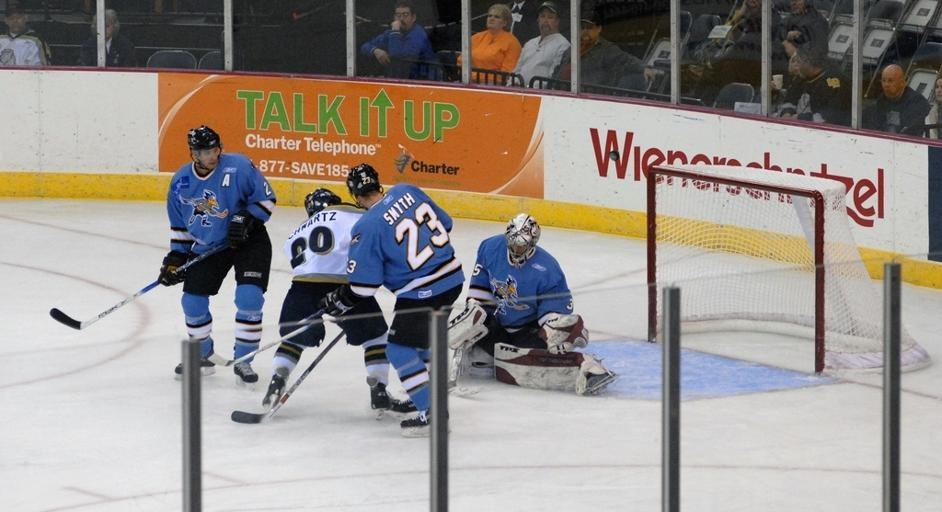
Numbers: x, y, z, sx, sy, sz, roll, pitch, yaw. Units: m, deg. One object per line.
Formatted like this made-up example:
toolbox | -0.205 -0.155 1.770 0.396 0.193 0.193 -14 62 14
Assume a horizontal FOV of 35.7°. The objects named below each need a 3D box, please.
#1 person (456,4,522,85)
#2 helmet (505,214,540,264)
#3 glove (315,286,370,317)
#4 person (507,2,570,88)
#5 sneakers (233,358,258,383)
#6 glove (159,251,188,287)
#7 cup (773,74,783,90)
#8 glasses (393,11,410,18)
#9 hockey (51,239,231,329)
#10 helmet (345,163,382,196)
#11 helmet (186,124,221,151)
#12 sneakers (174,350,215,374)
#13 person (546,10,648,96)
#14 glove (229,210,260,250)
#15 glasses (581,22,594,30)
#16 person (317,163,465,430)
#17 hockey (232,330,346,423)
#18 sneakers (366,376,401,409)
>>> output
person | 0.215 -2.034 13.925 0.601 0.682 0.430 28 31 35
helmet | 0.367 -0.140 10.431 0.299 0.303 0.316 4 19 -1
glove | -0.887 0.289 9.868 0.491 0.114 0.179 -19 -26 35
person | 0.672 -2.007 13.745 0.653 0.824 0.542 22 23 38
sneakers | -1.366 0.697 8.980 0.080 0.075 0.218 -10 12 -26
glove | -2.184 0.086 10.781 0.102 0.250 0.207 35 11 34
cup | 2.711 -1.514 12.736 0.135 0.111 0.124 -2 10 0
glasses | -0.640 -2.328 14.193 0.149 0.045 0.023 6 9 27
hockey | -2.565 0.239 11.493 1.331 0.169 0.172 -24 -12 -4
helmet | -0.671 -0.523 9.931 0.223 0.221 0.251 -9 6 -18
helmet | -1.920 -0.859 10.672 0.227 0.164 0.257 1 8 -10
sneakers | -1.541 0.604 8.358 0.138 0.115 0.211 -1 -3 5
person | 1.218 -1.895 13.530 0.911 0.788 0.277 3 17 37
glove | -1.648 -0.208 10.680 0.219 0.257 0.114 16 -25 44
glasses | 1.099 -2.127 13.557 0.099 0.056 0.145 -4 12 23
person | -0.391 0.223 9.467 0.876 1.525 1.537 1 9 -15
hockey | -0.994 0.726 8.775 0.225 0.060 1.187 26 35 22
sneakers | -0.533 0.816 8.857 0.165 0.192 0.304 5 8 12
